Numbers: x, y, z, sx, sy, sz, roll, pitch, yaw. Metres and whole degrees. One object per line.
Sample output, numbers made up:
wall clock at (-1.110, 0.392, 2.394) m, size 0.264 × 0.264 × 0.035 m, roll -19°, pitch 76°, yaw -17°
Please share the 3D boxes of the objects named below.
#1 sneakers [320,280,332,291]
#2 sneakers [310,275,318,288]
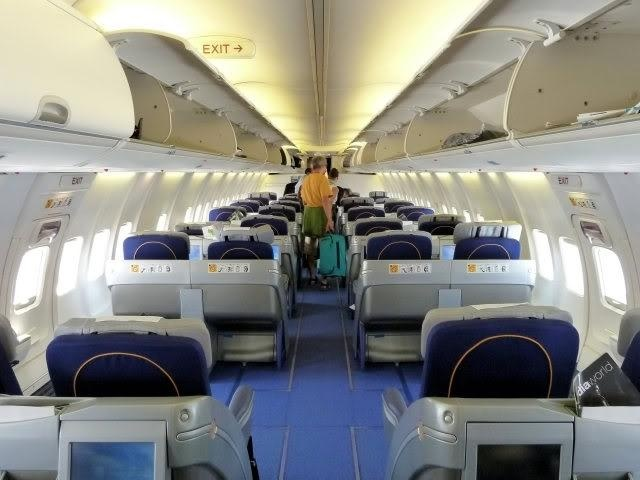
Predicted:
sneakers at (0.149, 1.012, 9.467) m, size 0.120 × 0.227 × 0.328 m, roll -2°, pitch -11°, yaw 4°
sneakers at (-0.135, 0.954, 9.798) m, size 0.159 × 0.238 × 0.253 m, roll 3°, pitch -6°, yaw -3°
